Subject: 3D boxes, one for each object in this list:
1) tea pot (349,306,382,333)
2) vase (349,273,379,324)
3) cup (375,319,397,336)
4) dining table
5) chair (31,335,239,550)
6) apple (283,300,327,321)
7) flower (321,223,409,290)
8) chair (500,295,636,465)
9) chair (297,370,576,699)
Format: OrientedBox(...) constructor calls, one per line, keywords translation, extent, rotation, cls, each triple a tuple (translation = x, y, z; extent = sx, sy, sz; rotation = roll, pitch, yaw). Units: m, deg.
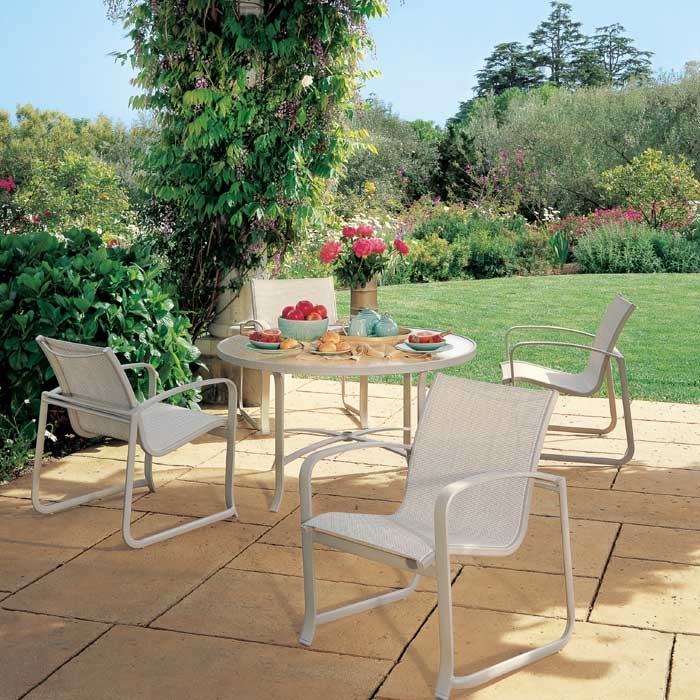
OrientedBox(translation=(0.057, -0.137, 3.305), extent=(0.137, 0.140, 0.136), rotation=(2, -6, 0), cls="tea pot")
OrientedBox(translation=(0.068, -0.274, 3.460), extent=(0.194, 0.244, 0.174), rotation=(0, 0, -9), cls="vase")
OrientedBox(translation=(0.167, -0.100, 3.253), extent=(0.093, 0.076, 0.086), rotation=(1, -4, 0), cls="cup")
OrientedBox(translation=(-0.076, 0.167, 3.131), extent=(1.068, 0.571, 1.018), rotation=(4, 10, 22), cls="dining table")
OrientedBox(translation=(-1.006, 0.294, 3.306), extent=(0.923, 1.064, 0.967), rotation=(9, 13, 36), cls="chair")
OrientedBox(translation=(-0.237, -0.180, 3.359), extent=(0.142, 0.074, 0.153), rotation=(0, 1, -23), cls="apple")
OrientedBox(translation=(0.020, -0.482, 3.602), extent=(0.456, 0.280, 0.441), rotation=(1, 2, 35), cls="flower")
OrientedBox(translation=(1.233, 0.170, 3.982), extent=(0.772, 0.793, 0.592), rotation=(-1, 9, 13), cls="chair")
OrientedBox(translation=(0.148, 0.426, 2.327), extent=(0.866, 1.045, 1.047), rotation=(-1, 2, -43), cls="chair")
